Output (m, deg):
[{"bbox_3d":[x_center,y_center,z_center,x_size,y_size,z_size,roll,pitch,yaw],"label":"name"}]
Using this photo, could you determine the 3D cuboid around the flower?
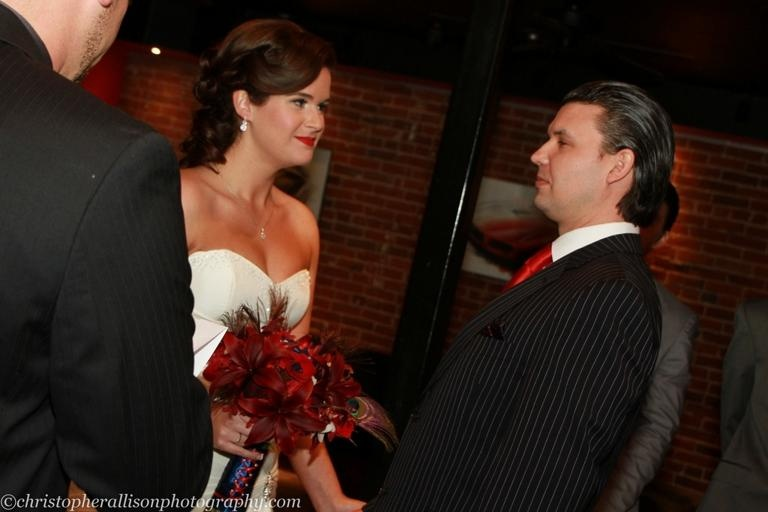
[{"bbox_3d":[-0.253,0.350,2.468,0.558,0.340,0.567,30,2,12],"label":"flower"}]
